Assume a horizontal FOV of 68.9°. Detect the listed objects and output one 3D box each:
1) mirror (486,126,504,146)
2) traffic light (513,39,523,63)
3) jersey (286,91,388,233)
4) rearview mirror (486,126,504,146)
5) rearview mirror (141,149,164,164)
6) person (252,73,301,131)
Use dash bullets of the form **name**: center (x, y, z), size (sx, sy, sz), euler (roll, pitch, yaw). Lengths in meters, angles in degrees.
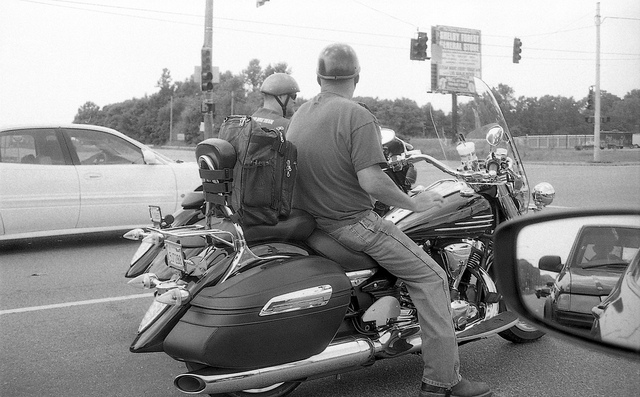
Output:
- **mirror**: center (1.569, -0.574, 4.302), size (0.149, 0.166, 0.044), euler (0, -11, 39)
- **traffic light**: center (9.802, -7.489, 23.791), size (0.271, 1.141, 0.666), euler (10, 14, 44)
- **jersey**: center (0.101, -0.237, 3.637), size (0.996, 0.978, 0.517), euler (10, 17, 43)
- **rearview mirror**: center (1.575, -0.579, 4.301), size (0.154, 0.169, 0.045), euler (0, -12, 41)
- **rearview mirror**: center (-3.146, -0.767, 8.735), size (0.286, 0.086, 0.205), euler (11, -16, 23)
- **person**: center (-0.746, -1.346, 6.567), size (0.927, 0.777, 0.999), euler (0, 14, 6)
